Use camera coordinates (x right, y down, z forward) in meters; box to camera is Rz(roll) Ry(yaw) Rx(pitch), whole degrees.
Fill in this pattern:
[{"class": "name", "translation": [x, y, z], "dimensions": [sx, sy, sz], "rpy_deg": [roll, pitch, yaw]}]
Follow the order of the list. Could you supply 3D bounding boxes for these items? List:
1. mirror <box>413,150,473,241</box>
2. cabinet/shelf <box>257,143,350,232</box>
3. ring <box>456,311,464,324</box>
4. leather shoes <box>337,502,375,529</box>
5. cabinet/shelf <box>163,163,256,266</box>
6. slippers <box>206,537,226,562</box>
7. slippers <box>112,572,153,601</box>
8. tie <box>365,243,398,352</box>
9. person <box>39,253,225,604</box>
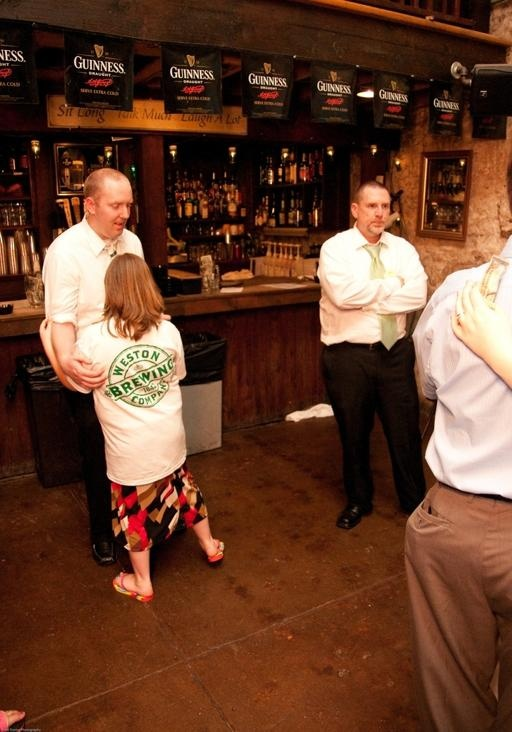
[{"class": "mirror", "translation": [1.737, -1.580, 5.171], "dimensions": [0.075, 1.019, 0.764], "rpy_deg": [-11, 20, -30]}, {"class": "cabinet/shelf", "translation": [0.837, -2.259, 6.948], "dimensions": [1.748, 1.037, 0.360], "rpy_deg": [-5, 28, -7]}, {"class": "ring", "translation": [0.381, -0.090, 1.054], "dimensions": [0.007, 0.018, 0.014], "rpy_deg": [7, 16, 19]}, {"class": "leather shoes", "translation": [0.598, 0.887, 3.380], "dimensions": [0.093, 0.097, 0.253], "rpy_deg": [7, 9, 39]}, {"class": "cabinet/shelf", "translation": [-0.825, -2.081, 7.743], "dimensions": [0.555, 1.472, 1.608], "rpy_deg": [8, 15, 43]}, {"class": "slippers", "translation": [-0.210, 0.965, 2.946], "dimensions": [0.060, 0.046, 0.168], "rpy_deg": [-23, 13, -3]}, {"class": "slippers", "translation": [-0.599, 1.086, 2.731], "dimensions": [0.211, 0.062, 0.086], "rpy_deg": [21, 23, 29]}, {"class": "tie", "translation": [0.705, -0.389, 3.143], "dimensions": [0.130, 0.573, 0.203], "rpy_deg": [-4, 12, -12]}, {"class": "person", "translation": [-0.487, 0.181, 2.437], "dimensions": [0.515, 1.313, 0.247], "rpy_deg": [-6, 12, -19]}]
